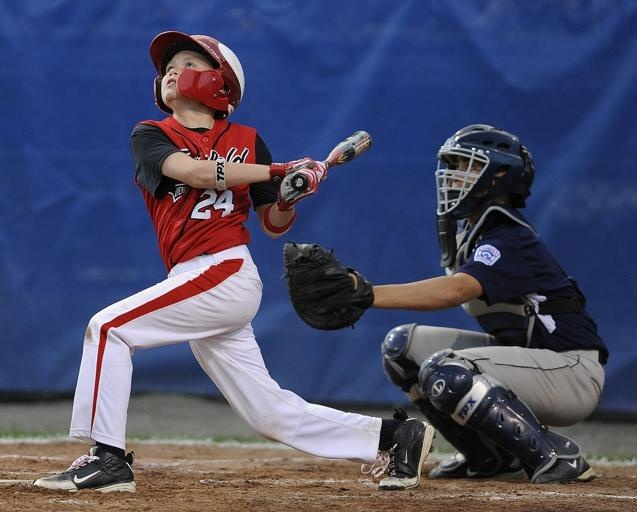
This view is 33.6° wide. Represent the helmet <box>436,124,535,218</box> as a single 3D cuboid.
[{"bbox_3d":[0.924,-0.467,5.791,0.584,0.360,0.393,6,-2,-17],"label":"helmet"}]

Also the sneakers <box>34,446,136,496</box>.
[{"bbox_3d":[-1.168,1.047,5.167,0.521,0.166,0.172,6,-4,-42],"label":"sneakers"}]

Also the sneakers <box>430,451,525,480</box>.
[{"bbox_3d":[0.851,1.145,5.836,0.575,0.163,0.166,1,-5,7],"label":"sneakers"}]

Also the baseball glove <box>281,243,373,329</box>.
[{"bbox_3d":[-0.005,0.132,5.208,0.399,0.481,0.166,-38,7,3],"label":"baseball glove"}]

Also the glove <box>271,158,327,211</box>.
[{"bbox_3d":[-0.055,-0.376,5.336,0.254,0.206,0.121,0,4,-38],"label":"glove"}]

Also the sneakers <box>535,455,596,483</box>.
[{"bbox_3d":[1.291,1.103,5.462,0.366,0.155,0.099,0,4,-25],"label":"sneakers"}]
